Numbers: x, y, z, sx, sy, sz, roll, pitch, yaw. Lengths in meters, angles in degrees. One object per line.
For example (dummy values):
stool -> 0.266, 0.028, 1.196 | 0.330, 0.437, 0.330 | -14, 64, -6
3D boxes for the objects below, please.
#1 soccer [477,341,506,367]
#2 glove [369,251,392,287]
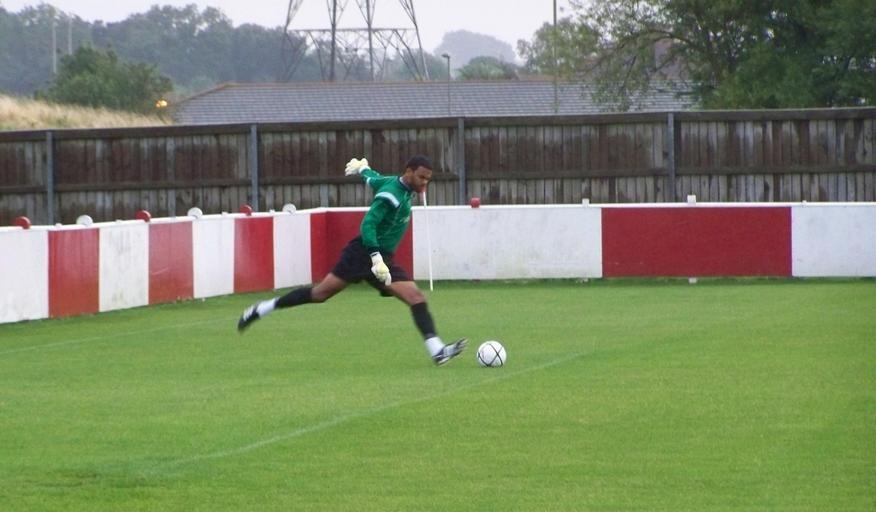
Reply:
soccer -> 1.302, 2.417, 38.709 | 0.711, 0.599, 0.326 | -2, 4, 1
glove -> -1.428, 0.350, 38.564 | 0.464, 0.761, 0.277 | -21, 2, -38
